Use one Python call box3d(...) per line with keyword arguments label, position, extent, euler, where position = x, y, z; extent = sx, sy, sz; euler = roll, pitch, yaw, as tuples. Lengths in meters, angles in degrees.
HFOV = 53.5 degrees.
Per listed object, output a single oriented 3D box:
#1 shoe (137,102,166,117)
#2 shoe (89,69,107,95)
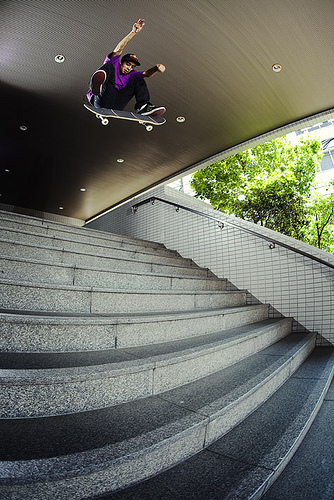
box3d(label="shoe", position=(-0.159, -1.579, 3.748), extent=(0.352, 0.147, 0.119), euler=(8, 43, 13))
box3d(label="shoe", position=(-0.666, -1.630, 3.233), extent=(0.114, 0.117, 0.299), euler=(13, 6, -8))
